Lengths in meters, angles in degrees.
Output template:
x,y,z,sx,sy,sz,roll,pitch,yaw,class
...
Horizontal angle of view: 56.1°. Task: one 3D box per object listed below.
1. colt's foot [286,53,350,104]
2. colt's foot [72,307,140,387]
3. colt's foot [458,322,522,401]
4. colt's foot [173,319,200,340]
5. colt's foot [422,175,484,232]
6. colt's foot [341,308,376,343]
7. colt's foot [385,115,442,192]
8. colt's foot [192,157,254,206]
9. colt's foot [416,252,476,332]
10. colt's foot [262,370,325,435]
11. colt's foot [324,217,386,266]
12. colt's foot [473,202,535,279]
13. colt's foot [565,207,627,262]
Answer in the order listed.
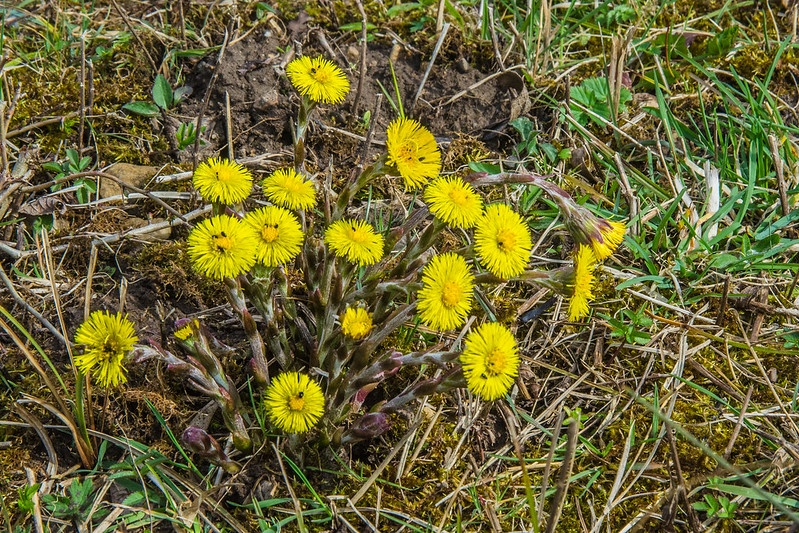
x,y,z,sx,sy,sz,roll,pitch,yaw,class
-0.347,-0.814,3.190,0.235,0.067,0.247,22,31,15,colt's foot
-1.113,0.290,2.989,0.285,0.143,0.309,-19,88,8,colt's foot
0.353,0.362,2.913,0.270,0.097,0.274,-18,92,-2,colt's foot
-0.844,0.257,2.995,0.086,0.090,0.053,-32,81,-1,colt's foot
0.218,-0.254,2.965,0.220,0.085,0.223,-24,76,-14,colt's foot
-0.172,0.249,3.063,0.124,0.249,0.141,15,70,0,colt's foot
0.015,-0.428,3.001,0.253,0.106,0.251,46,58,-13,colt's foot
-0.711,-0.343,3.008,0.202,0.079,0.204,11,64,-13,colt's foot
0.199,0.110,2.913,0.279,0.271,0.069,39,103,-13,colt's foot
-0.415,0.538,2.965,0.224,0.146,0.209,36,71,6,colt's foot
-0.173,-0.091,2.950,0.189,0.073,0.190,0,57,-19,colt's foot
0.405,-0.094,3.002,0.230,0.168,0.269,8,71,-4,colt's foot
0.785,-0.138,3.080,0.249,0.125,0.182,42,89,2,colt's foot
